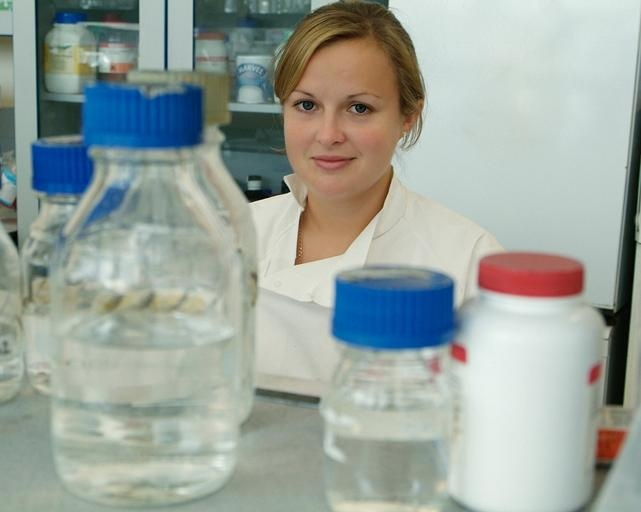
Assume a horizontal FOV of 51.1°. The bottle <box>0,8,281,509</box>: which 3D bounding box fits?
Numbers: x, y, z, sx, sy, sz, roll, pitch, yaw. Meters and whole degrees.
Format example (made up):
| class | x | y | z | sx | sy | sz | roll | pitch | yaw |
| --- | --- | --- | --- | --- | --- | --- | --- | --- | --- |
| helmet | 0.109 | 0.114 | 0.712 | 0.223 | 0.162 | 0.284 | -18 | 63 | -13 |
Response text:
| class | x | y | z | sx | sy | sz | roll | pitch | yaw |
| --- | --- | --- | --- | --- | --- | --- | --- | --- | --- |
| bottle | -0.136 | 0.012 | 0.464 | 0.174 | 0.279 | 0.121 | 3 | 12 | 2 |
